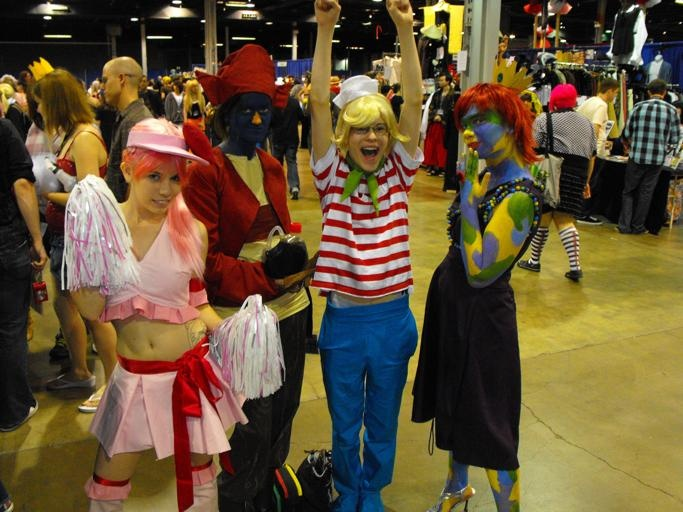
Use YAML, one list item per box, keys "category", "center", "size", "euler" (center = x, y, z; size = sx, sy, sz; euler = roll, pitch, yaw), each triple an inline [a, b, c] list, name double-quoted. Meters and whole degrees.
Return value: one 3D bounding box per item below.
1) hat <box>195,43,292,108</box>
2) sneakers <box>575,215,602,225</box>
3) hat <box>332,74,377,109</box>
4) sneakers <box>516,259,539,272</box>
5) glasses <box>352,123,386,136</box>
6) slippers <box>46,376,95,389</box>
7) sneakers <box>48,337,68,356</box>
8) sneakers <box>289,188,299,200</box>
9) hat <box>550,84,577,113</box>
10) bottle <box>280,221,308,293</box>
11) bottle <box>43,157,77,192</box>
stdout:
- category: "hat"
  center: [-0.408, -0.737, 2.170]
  size: [0.292, 0.190, 0.295]
  euler: [0, 18, -12]
- category: "sneakers"
  center: [3.751, -0.536, 7.975]
  size: [0.406, 0.187, 0.150]
  euler: [2, 9, 1]
- category: "hat"
  center: [0.061, -0.732, 2.353]
  size: [0.192, 0.154, 0.186]
  euler: [1, 14, 3]
- category: "sneakers"
  center: [2.176, 0.126, 6.112]
  size: [0.224, 0.108, 0.105]
  euler: [19, 19, 40]
- category: "glasses"
  center: [0.111, -0.538, 2.254]
  size: [0.145, 0.039, 0.042]
  euler: [1, 13, 0]
- category: "slippers"
  center: [-1.894, 0.880, 3.628]
  size: [0.275, 0.097, 0.115]
  euler: [5, 0, -18]
- category: "sneakers"
  center: [-2.209, 0.721, 4.040]
  size: [0.109, 0.157, 0.065]
  euler: [-4, -26, -6]
- category: "sneakers"
  center: [-0.822, -1.040, 8.845]
  size: [0.130, 0.176, 0.386]
  euler: [-1, 11, -3]
- category: "hat"
  center: [2.475, -1.743, 5.781]
  size: [0.262, 0.362, 0.375]
  euler: [-3, 17, -3]
- category: "bottle"
  center: [-0.224, -0.007, 2.309]
  size: [0.092, 0.283, 0.259]
  euler: [1, 13, 2]
- category: "bottle"
  center: [-1.725, -0.491, 3.209]
  size: [0.189, 0.205, 0.084]
  euler: [3, 13, 11]
